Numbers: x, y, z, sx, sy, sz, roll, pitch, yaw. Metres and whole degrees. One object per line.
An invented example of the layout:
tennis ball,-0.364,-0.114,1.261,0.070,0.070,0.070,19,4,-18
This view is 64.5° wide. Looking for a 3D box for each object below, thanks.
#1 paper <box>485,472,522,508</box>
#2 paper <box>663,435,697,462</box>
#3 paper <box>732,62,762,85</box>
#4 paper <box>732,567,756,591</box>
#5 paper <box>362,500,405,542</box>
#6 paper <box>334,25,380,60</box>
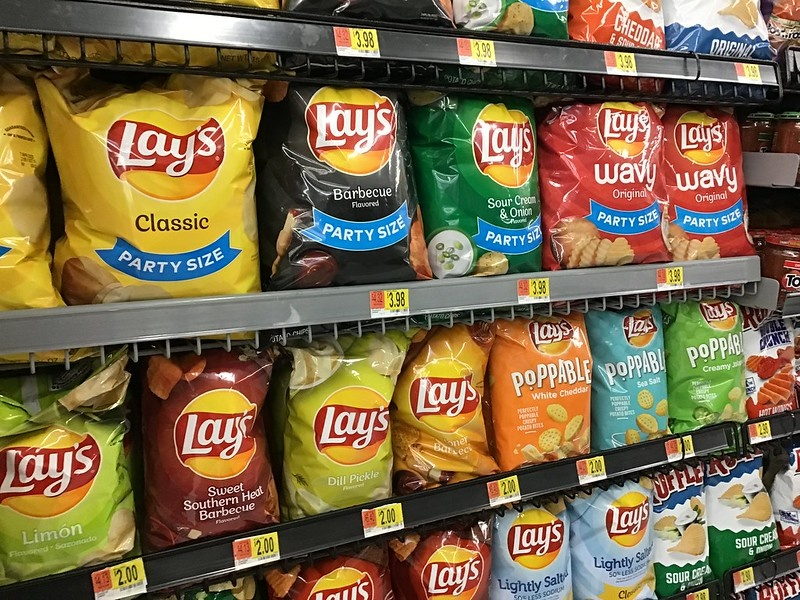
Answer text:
paper,0.260,0.478,1.606,0.097,0.069,0.014,0,-14,-36
paper,0.791,0.420,1.800,0.071,0.050,0.024,-1,-11,-37
paper,0.963,-0.630,1.766,0.067,0.043,0.005,6,-14,-22
paper,1.043,0.848,1.929,0.070,0.054,0.010,-3,-1,-25
paper,-0.041,0.518,1.499,0.098,0.071,0.014,-3,-12,-28
paper,-0.095,-0.560,1.376,0.076,0.049,0.001,-2,-2,-24
